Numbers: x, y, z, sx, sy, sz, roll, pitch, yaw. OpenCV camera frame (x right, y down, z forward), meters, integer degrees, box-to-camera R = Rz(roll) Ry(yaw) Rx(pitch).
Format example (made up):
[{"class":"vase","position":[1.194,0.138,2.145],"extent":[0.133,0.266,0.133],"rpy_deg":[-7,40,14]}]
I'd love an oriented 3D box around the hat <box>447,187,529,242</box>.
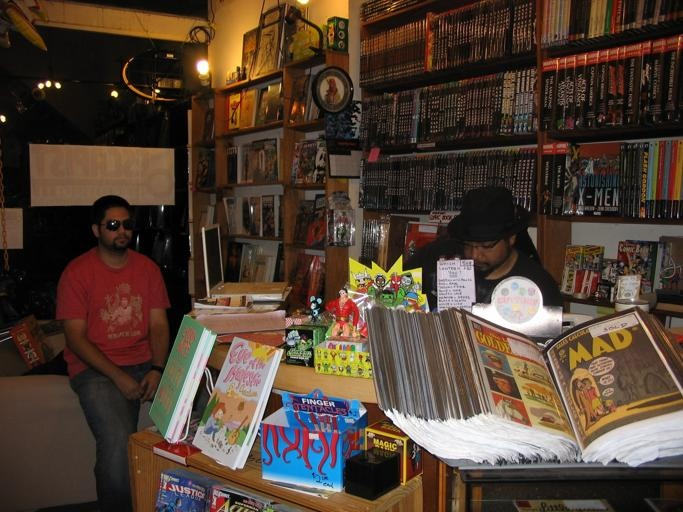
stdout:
[{"class":"hat","position":[0.718,-0.245,2.405],"extent":[0.255,0.133,0.312],"rpy_deg":[-7,8,35]}]

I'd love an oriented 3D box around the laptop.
[{"class":"laptop","position":[-0.480,0.102,2.532],"extent":[0.375,0.388,0.490],"rpy_deg":[-2,2,-9]}]

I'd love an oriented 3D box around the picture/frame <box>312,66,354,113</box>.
[{"class":"picture/frame","position":[-0.065,-1.336,3.994],"extent":[0.346,0.405,0.067],"rpy_deg":[-3,47,1]}]
